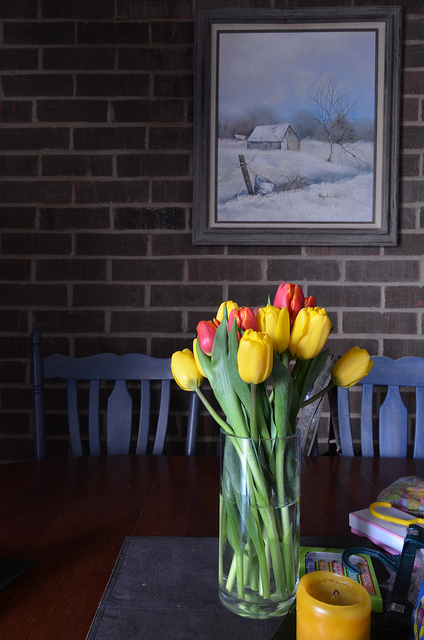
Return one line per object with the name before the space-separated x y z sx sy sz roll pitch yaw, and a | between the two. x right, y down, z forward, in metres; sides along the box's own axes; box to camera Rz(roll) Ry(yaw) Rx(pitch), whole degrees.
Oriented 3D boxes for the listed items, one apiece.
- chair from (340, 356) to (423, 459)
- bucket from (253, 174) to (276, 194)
chair | 0.467 0.248 1.673 0.220 0.330 0.375 0 4 13
bucket | 0.151 -0.405 1.791 0.045 0.070 0.046 3 13 -1
